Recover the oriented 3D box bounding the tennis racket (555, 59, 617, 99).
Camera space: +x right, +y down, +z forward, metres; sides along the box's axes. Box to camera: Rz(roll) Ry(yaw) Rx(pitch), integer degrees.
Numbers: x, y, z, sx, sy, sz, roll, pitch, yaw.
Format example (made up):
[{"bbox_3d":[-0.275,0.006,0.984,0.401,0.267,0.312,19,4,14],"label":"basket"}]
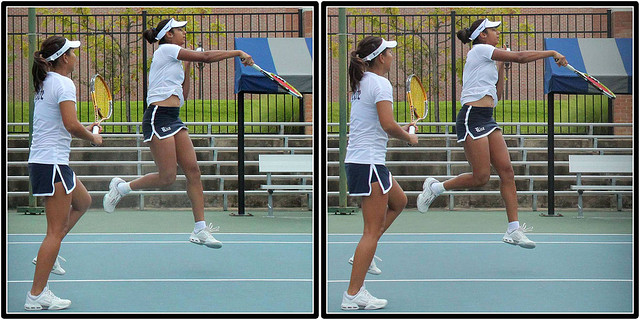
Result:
[{"bbox_3d":[7.140,-2.267,18.140,0.155,1.988,0.571,-57,-8,31],"label":"tennis racket"}]
